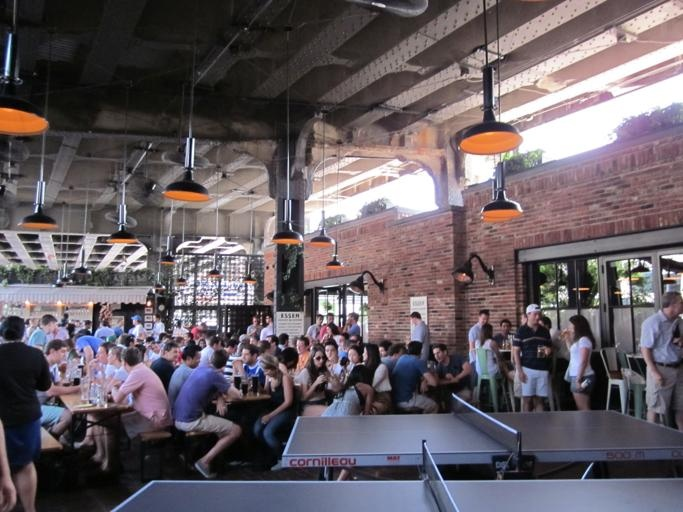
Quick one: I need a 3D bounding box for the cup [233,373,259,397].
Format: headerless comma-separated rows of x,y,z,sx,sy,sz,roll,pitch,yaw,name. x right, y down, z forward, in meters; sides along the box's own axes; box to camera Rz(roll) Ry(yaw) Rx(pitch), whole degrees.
-1.506,2.042,9.371,0.328,0.287,0.388,5,-14,-24,cup

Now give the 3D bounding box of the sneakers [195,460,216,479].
-1.971,3.058,8.422,0.154,0.344,0.185,-43,22,-3,sneakers

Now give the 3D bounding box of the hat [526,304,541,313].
3.200,0.870,10.018,0.194,0.150,0.291,5,-17,-11,hat

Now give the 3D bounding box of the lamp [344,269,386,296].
0.678,0.686,16.305,1.127,0.638,0.465,11,-18,-30,lamp

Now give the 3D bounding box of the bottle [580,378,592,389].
3.873,2.013,9.413,0.181,0.119,0.186,1,-35,0,bottle

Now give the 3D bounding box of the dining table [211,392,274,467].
-1.526,2.702,9.499,0.999,0.722,0.950,8,-11,-36,dining table
